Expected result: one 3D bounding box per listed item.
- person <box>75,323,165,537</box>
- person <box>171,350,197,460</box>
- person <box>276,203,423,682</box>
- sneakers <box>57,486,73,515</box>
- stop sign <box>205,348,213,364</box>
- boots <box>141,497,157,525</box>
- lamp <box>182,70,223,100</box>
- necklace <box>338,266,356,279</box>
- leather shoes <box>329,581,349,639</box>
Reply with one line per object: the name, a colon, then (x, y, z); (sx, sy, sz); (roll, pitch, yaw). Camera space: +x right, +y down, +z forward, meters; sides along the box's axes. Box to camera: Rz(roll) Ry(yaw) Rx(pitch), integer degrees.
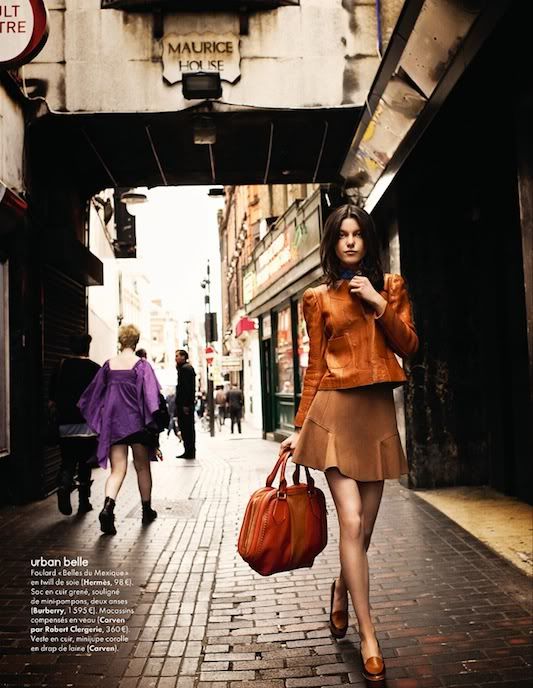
person: (-1.262, 0.710, 5.264); (0.731, 1.852, 0.783); (1, -6, -22)
person: (-1.526, 1.155, 11.150); (0.367, 2.100, 0.902); (0, -6, -9)
person: (0.347, 0.338, 2.386); (0.503, 1.825, 0.434); (-4, -7, 31)
sneakers: (-1.900, 1.480, 5.565); (0.129, 0.295, 0.125); (-1, -8, -2)
stop sign: (-1.807, 0.379, 19.029); (0.261, 0.568, 0.491); (0, -6, -9)
boots: (-1.105, 1.591, 5.522); (0.084, 0.159, 0.228); (0, 1, 5)
lamp: (-0.691, -2.961, 6.805); (0.373, 0.236, 0.279); (3, 19, 15)
necklace: (0.336, -0.289, 2.421); (0.053, 0.052, 0.056); (-3, -3, 1)
leather shoes: (0.315, 1.191, 2.619); (0.075, 0.260, 0.092); (0, -3, -7)
